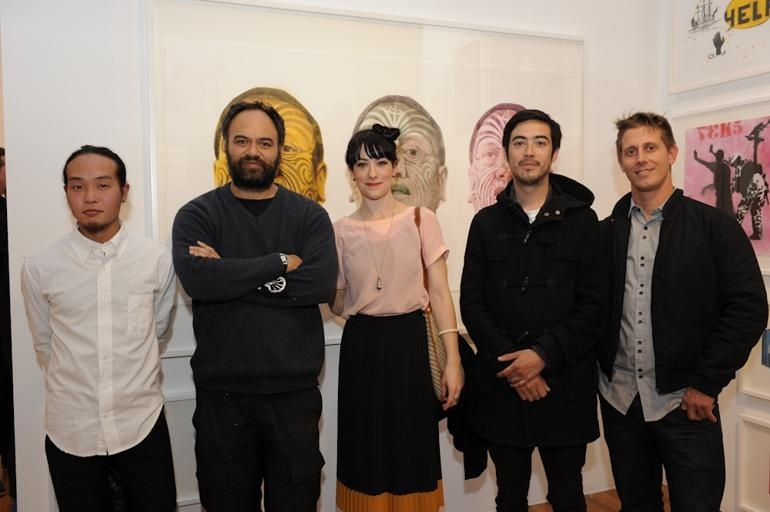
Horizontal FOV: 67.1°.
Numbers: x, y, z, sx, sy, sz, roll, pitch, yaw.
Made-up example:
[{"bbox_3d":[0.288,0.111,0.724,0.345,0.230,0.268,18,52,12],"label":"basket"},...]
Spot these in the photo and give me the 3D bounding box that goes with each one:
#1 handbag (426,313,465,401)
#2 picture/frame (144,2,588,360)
[{"bbox_3d":[0.307,0.589,3.491,0.126,0.503,0.212,-2,9,3],"label":"handbag"},{"bbox_3d":[-0.234,-0.442,3.658,2.390,1.790,0.082,-3,4,-14],"label":"picture/frame"}]
